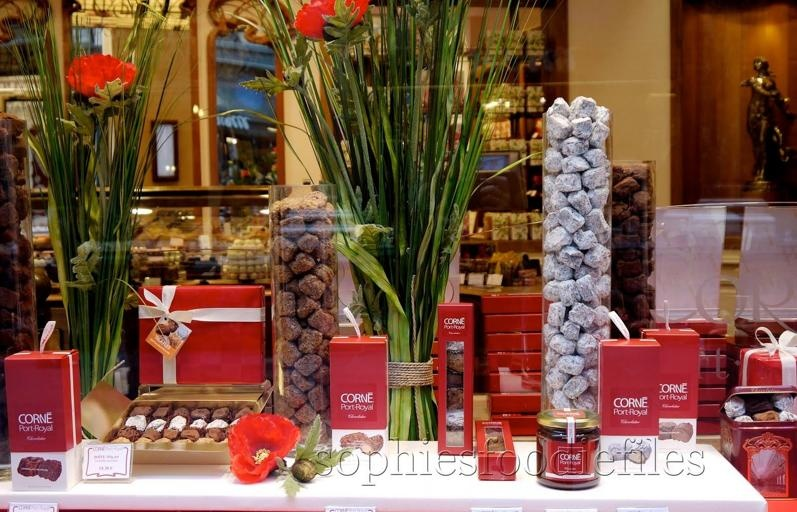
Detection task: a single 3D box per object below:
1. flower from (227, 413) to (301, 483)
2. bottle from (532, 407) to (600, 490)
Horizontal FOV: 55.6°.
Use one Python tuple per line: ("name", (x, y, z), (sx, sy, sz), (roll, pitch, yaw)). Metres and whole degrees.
("flower", (-0.444, 0.577, 2.455), (0.206, 0.100, 0.230), (-2, 5, -16))
("bottle", (0.501, 0.577, 2.367), (0.210, 0.242, 0.211), (-1, 1, -8))
